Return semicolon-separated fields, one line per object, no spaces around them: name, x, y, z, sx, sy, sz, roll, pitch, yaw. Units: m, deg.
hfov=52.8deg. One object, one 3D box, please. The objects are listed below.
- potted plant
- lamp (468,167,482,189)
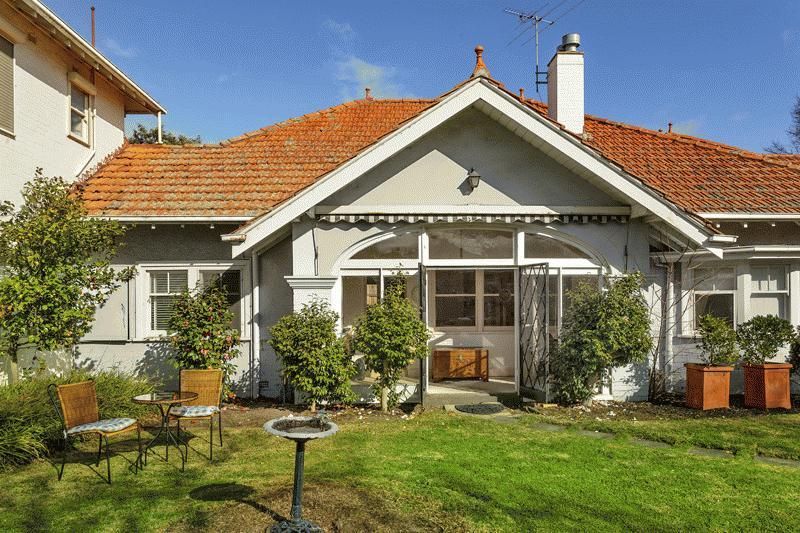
potted plant;8.436;2.424;19.780;2.087;2.261;1.116;0;-4;-5
lamp;1.834;-2.159;20.132;0.302;0.538;0.333;10;17;31
